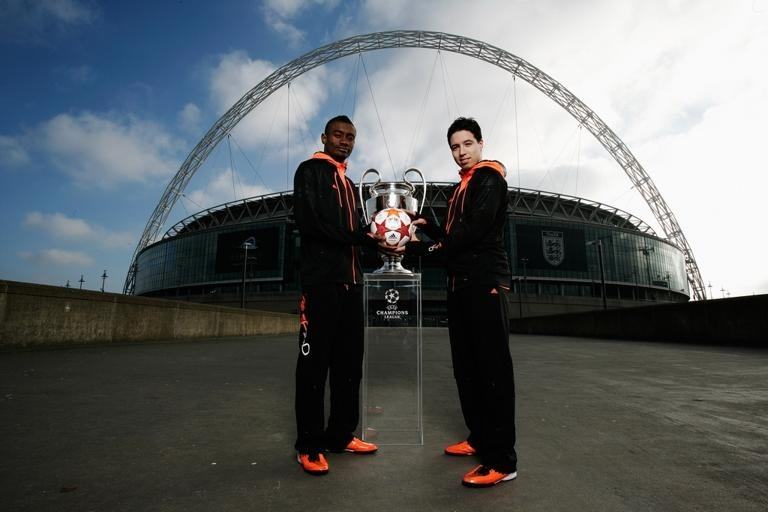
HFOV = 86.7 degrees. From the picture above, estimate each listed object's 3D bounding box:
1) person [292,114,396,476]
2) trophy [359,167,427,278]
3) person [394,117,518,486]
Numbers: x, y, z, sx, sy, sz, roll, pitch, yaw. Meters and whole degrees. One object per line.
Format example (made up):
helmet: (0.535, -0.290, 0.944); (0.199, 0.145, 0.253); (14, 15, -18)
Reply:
person: (-0.393, 0.200, 3.350); (0.714, 2.759, 0.460); (3, -12, -18)
trophy: (0.096, -0.330, 3.880); (0.642, 0.964, 0.551); (-1, 1, -8)
person: (0.638, 0.319, 3.381); (0.835, 2.798, 0.880); (0, -2, -10)
